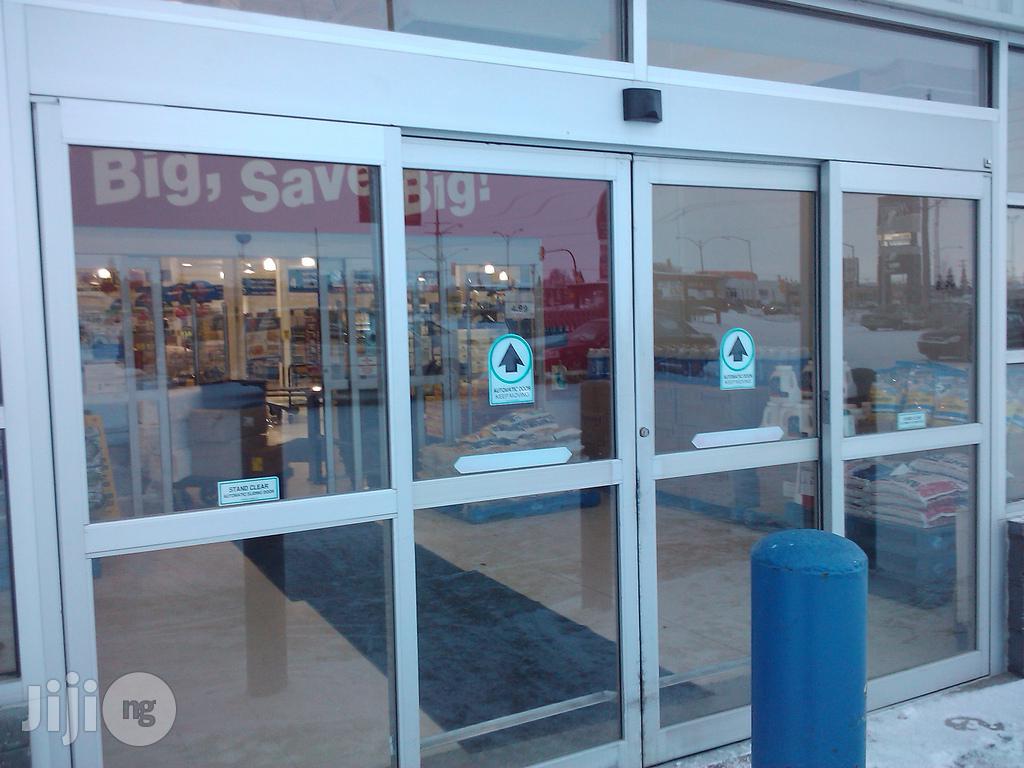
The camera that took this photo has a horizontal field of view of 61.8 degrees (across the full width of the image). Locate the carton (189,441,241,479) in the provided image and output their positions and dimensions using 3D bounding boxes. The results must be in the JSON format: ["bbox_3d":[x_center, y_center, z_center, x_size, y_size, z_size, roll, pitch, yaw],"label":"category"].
[{"bbox_3d":[-1.160,0.282,3.363,0.260,0.154,0.130,0,7,-24],"label":"carton"}]

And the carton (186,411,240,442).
[{"bbox_3d":[-1.160,0.156,3.310,0.148,0.077,0.140,-1,2,-32],"label":"carton"}]
